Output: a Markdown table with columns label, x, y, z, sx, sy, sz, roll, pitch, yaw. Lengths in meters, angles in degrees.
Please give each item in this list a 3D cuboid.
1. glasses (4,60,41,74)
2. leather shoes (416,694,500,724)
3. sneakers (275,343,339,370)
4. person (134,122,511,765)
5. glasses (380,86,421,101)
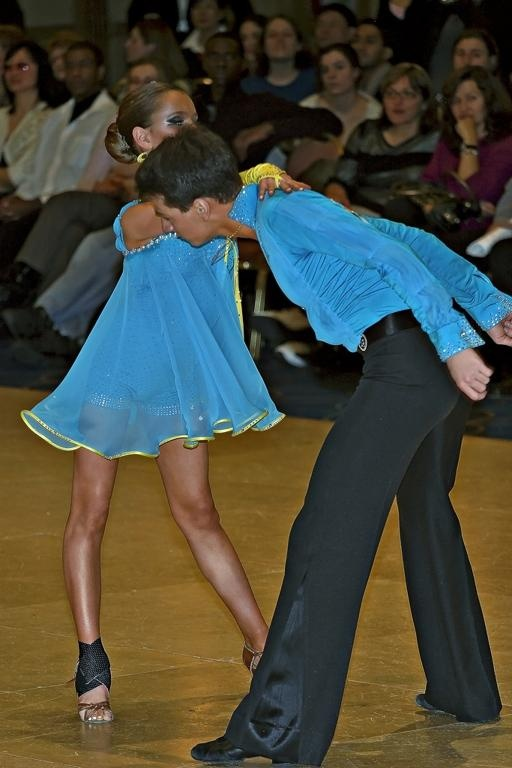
| label | x | y | z | sx | sy | sz | roll | pitch | yaw |
| --- | --- | --- | --- | --- | --- | --- | --- | --- | --- |
| glasses | -2.151 | -2.910 | 7.035 | 0.204 | 0.048 | 0.187 | 0 | -1 | 13 |
| leather shoes | 0.435 | 0.698 | 1.675 | 0.054 | 0.055 | 0.168 | -13 | 8 | -41 |
| sneakers | 0.393 | -0.227 | 5.896 | 0.551 | 0.198 | 0.169 | 8 | 13 | 13 |
| person | 0.194 | 0.159 | 1.474 | 0.735 | 1.207 | 0.713 | -5 | 29 | -8 |
| glasses | 0.933 | -1.886 | 4.885 | 0.252 | 0.108 | 0.043 | 19 | 35 | 35 |
